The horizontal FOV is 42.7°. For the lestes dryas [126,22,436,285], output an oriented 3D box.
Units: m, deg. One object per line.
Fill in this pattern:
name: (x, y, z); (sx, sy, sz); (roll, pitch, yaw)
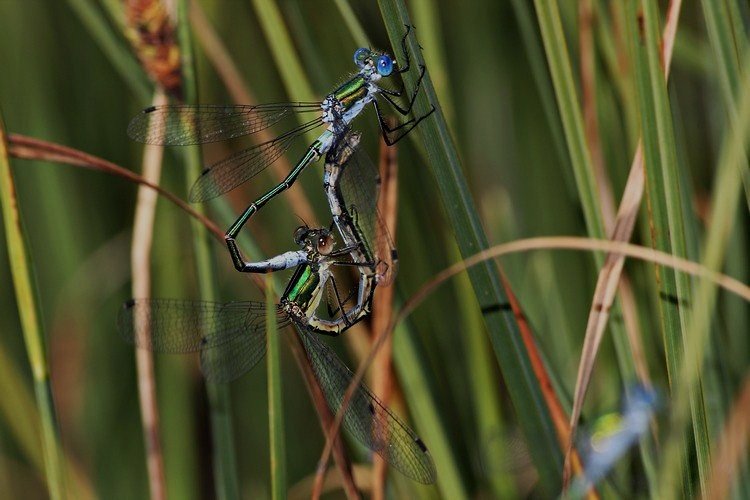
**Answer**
lestes dryas: (-0.287, -0.336, 3.417); (0.887, 0.906, 0.417); (-57, -39, -1)
